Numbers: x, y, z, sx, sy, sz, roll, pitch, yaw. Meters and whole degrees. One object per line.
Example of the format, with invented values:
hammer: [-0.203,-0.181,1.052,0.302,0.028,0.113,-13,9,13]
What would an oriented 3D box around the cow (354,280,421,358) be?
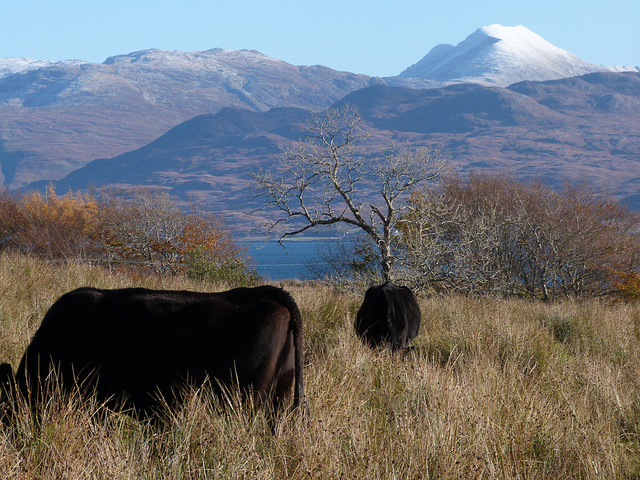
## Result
cow: [1.041,1.282,12.672,1.017,1.307,2.040,0,8,10]
